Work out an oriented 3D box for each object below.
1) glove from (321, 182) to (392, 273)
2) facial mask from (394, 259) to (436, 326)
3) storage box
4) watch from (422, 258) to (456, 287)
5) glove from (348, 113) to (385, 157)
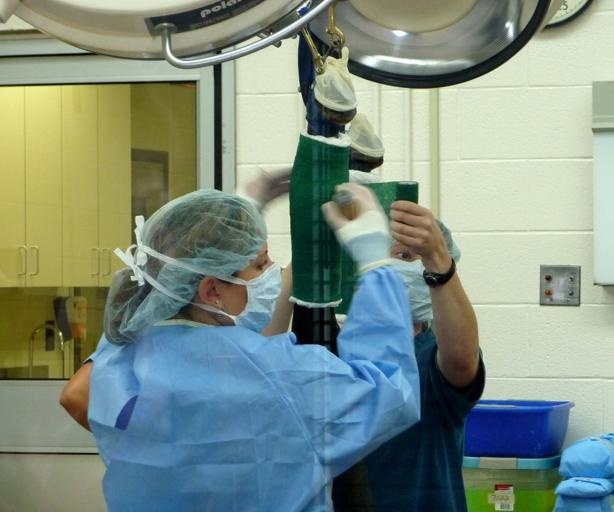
[{"bbox_3d":[0.069,-0.041,1.165,0.056,0.122,0.065,-23,0,-28],"label":"glove"},{"bbox_3d":[0.144,0.046,1.188,0.051,0.078,0.042,-12,4,13],"label":"facial mask"},{"bbox_3d":[0.270,0.211,1.142,0.095,0.046,0.076,-7,-8,35],"label":"storage box"},{"bbox_3d":[0.169,0.029,1.143,0.033,0.017,0.036,-30,24,11],"label":"watch"},{"bbox_3d":[0.079,-0.154,1.169,0.038,0.062,0.027,-12,0,-18],"label":"glove"}]
